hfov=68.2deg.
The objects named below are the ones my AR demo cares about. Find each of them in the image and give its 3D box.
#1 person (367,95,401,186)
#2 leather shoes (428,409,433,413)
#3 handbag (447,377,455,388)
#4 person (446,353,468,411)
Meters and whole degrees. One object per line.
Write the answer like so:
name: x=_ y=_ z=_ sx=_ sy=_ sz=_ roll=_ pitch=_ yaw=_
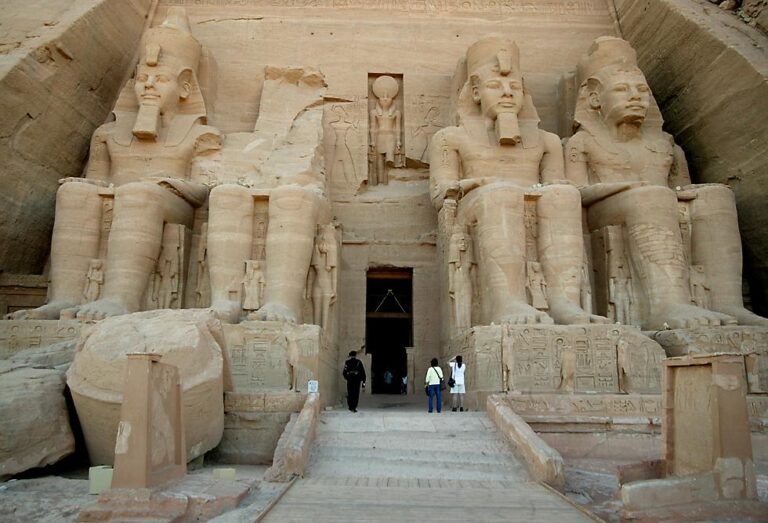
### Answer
person: x=0.001 y=-2.242 z=10.490 sx=0.595 sy=1.746 sz=0.391 roll=2 pitch=-2 yaw=-1
leather shoes: x=0.541 y=1.743 z=6.599 sx=0.041 sy=0.044 sz=0.111 roll=-2 pitch=-21 yaw=3
handbag: x=0.825 y=1.494 z=7.007 sx=0.078 sy=0.148 sz=0.196 roll=2 pitch=-2 yaw=-1
person: x=0.902 y=1.509 z=7.020 sx=0.210 sy=0.693 sz=0.550 roll=1 pitch=-2 yaw=7
